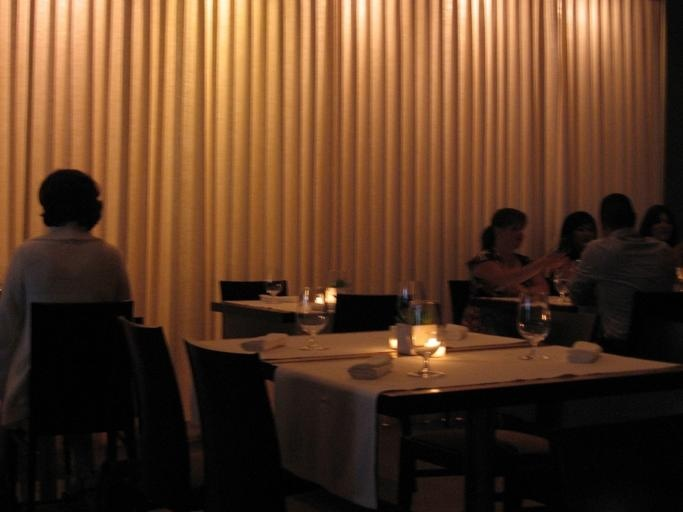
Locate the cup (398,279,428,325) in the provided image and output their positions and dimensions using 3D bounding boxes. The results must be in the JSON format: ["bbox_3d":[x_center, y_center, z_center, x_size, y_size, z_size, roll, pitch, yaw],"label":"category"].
[{"bbox_3d":[0.228,0.154,2.304,0.128,0.177,0.130,0,-1,0],"label":"cup"}]

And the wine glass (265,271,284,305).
[{"bbox_3d":[-0.394,0.202,3.952,0.121,0.179,0.113,2,0,18],"label":"wine glass"}]
